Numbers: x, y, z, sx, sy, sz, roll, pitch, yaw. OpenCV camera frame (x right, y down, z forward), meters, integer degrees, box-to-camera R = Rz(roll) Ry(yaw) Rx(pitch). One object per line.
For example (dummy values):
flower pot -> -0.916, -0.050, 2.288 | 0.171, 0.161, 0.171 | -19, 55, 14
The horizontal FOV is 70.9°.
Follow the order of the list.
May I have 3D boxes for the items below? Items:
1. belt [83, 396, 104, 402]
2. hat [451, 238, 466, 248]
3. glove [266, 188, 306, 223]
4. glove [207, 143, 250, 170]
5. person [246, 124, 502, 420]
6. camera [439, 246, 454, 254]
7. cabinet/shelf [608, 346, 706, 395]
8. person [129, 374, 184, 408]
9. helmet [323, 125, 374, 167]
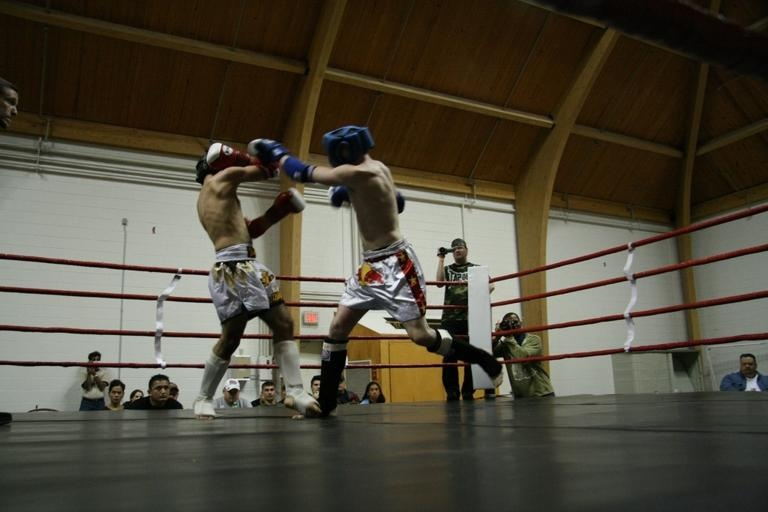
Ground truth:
belt -> -3.486, 1.717, 6.477 | 0.215, 0.051, 0.109 | 3, -13, -23
hat -> 0.779, -0.128, 5.573 | 0.133, 0.177, 0.137 | -3, -4, 0
glove -> -0.599, -0.321, 3.484 | 0.257, 0.166, 0.089 | -29, -21, 1
glove -> -0.971, -0.601, 3.361 | 0.226, 0.097, 0.170 | 4, 19, -19
person -> -0.041, 0.104, 3.215 | 1.418, 1.627, 0.600 | 6, -15, -31
camera -> 0.654, -0.064, 5.691 | 0.098, 0.092, 0.330 | -17, -8, 16
cabinet/shelf -> 4.746, 2.028, 9.172 | 1.175, 0.790, 0.699 | 0, -16, 7
person -> -2.038, 1.233, 4.863 | 0.485, 0.320, 1.179 | 4, -13, -25
helmet -> -0.200, -0.630, 3.107 | 0.260, 0.213, 0.214 | -1, 6, 8
